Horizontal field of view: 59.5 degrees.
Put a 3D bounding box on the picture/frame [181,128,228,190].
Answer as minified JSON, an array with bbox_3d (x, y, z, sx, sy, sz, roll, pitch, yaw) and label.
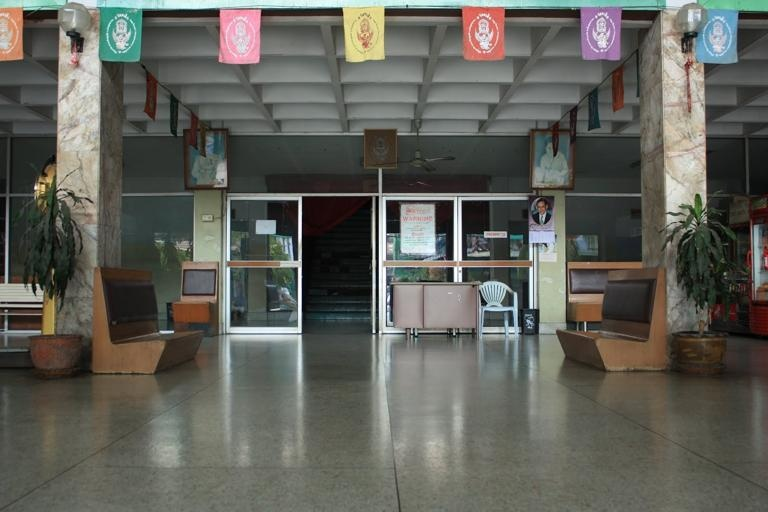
[{"bbox_3d":[-3.159,-1.718,11.923,1.043,1.444,0.233,0,-1,-1],"label":"picture/frame"}]

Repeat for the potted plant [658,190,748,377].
[{"bbox_3d":[3.761,0.311,7.964,0.798,2.078,0.626,4,7,29],"label":"potted plant"}]

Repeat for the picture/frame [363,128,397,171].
[{"bbox_3d":[-0.053,-1.984,12.338,0.695,0.785,0.099,0,5,2],"label":"picture/frame"}]

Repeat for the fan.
[{"bbox_3d":[0.422,-1.979,12.287,1.552,0.911,1.117,-2,-9,0],"label":"fan"}]

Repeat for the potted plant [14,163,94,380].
[{"bbox_3d":[-4.095,0.151,8.363,0.732,2.412,1.785,-3,7,-28],"label":"potted plant"}]

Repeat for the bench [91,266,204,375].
[{"bbox_3d":[-2.992,0.411,8.687,0.992,1.584,1.997,-2,-4,-2],"label":"bench"}]

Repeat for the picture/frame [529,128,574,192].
[{"bbox_3d":[3.055,-1.740,12.056,1.058,1.442,0.155,0,0,4],"label":"picture/frame"}]

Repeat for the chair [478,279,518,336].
[{"bbox_3d":[2.015,0.932,11.889,0.738,0.937,0.691,4,-8,-18],"label":"chair"}]

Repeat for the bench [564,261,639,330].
[{"bbox_3d":[3.409,0.631,10.552,1.135,1.100,0.591,1,-4,-1],"label":"bench"}]

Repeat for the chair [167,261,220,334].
[{"bbox_3d":[-3.330,0.763,11.934,0.696,1.322,0.663,0,-6,-5],"label":"chair"}]

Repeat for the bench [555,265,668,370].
[{"bbox_3d":[2.939,0.784,8.727,0.861,1.234,1.639,4,-3,-2],"label":"bench"}]
